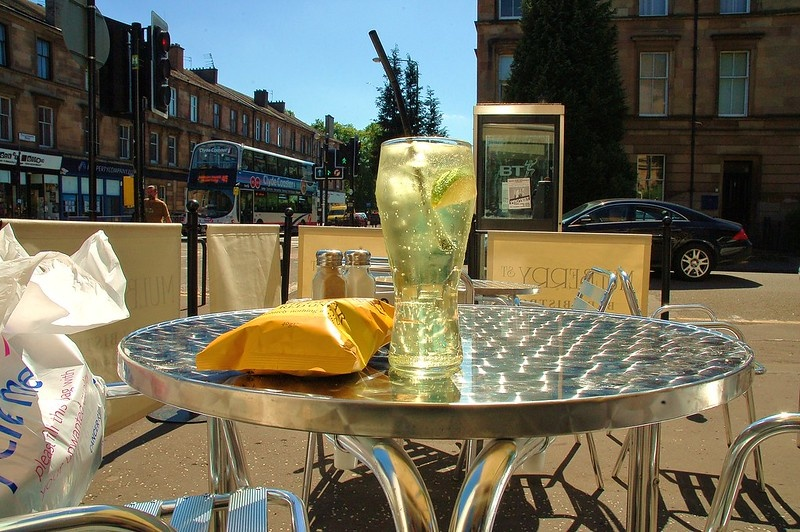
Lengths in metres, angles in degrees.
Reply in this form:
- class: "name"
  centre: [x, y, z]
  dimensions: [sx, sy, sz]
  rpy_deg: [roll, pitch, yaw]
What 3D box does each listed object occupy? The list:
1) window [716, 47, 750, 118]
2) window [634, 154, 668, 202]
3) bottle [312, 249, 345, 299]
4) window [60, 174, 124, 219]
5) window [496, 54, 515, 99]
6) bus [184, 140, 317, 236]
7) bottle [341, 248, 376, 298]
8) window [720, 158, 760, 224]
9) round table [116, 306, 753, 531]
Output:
- class: "window"
  centre: [11.917, -6.454, 24.789]
  dimensions: [1.085, 2.218, 0.295]
  rpy_deg: [3, 9, 5]
- class: "window"
  centre: [9.118, -3.135, 25.291]
  dimensions: [0.956, 1.985, 0.063]
  rpy_deg: [5, 33, 25]
- class: "bottle"
  centre: [-0.320, 0.036, 3.115]
  dimensions: [0.150, 0.207, 0.366]
  rpy_deg: [1, 10, -6]
- class: "window"
  centre: [-14.993, -3.369, 33.936]
  dimensions: [1.495, 2.106, 4.430]
  rpy_deg: [1, 10, -3]
- class: "window"
  centre: [3.869, -6.660, 25.634]
  dimensions: [0.164, 1.970, 0.937]
  rpy_deg: [3, 14, -22]
- class: "bus"
  centre: [-5.769, -3.094, 28.814]
  dimensions: [2.025, 3.475, 7.793]
  rpy_deg: [2, 3, 17]
- class: "bottle"
  centre: [-0.188, 0.040, 3.216]
  dimensions: [0.141, 0.205, 0.362]
  rpy_deg: [1, 10, -5]
- class: "window"
  centre: [12.797, -2.453, 26.350]
  dimensions: [1.175, 3.473, 0.141]
  rpy_deg: [1, -5, 6]
- class: "round table"
  centre: [0.226, 0.616, 2.680]
  dimensions: [2.304, 0.831, 0.916]
  rpy_deg: [1, 10, -8]
